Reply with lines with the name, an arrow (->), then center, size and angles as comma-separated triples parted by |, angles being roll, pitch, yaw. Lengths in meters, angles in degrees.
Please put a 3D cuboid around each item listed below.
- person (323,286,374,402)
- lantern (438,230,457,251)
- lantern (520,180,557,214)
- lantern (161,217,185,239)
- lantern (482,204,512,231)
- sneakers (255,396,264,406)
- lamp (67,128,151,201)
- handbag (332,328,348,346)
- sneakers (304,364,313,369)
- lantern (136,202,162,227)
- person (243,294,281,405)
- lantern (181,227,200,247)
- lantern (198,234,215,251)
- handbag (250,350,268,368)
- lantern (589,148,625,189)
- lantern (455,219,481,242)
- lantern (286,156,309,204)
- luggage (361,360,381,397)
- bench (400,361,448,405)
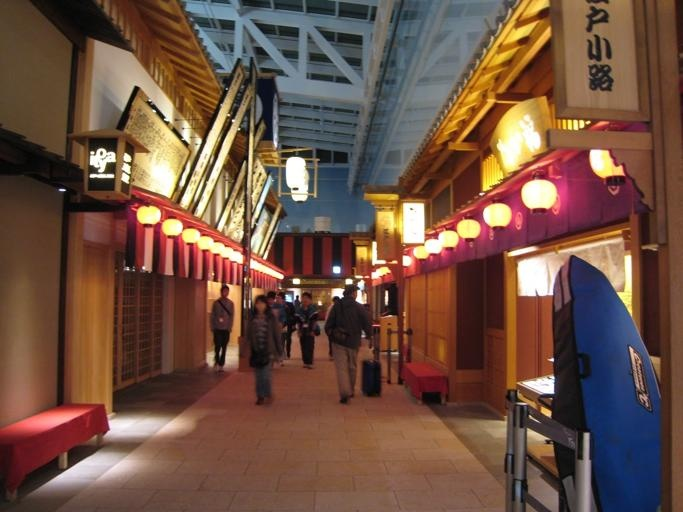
person -> 0.124, 1.590, 10.457 | 0.855, 2.118, 0.666 | -2, -8, 2
lantern -> 1.774, -0.258, 9.473 | 0.262, 0.327, 0.276 | -2, -2, 23
lantern -> 2.195, -0.624, 6.202 | 0.327, 0.421, 0.350 | 7, -5, -33
lantern -> -2.883, -0.470, 9.541 | 0.338, 0.307, 0.447 | -1, -8, -3
lantern -> 2.009, -0.497, 7.368 | 0.292, 0.305, 0.313 | 1, -4, 0
sneakers -> -1.449, 2.534, 9.959 | 0.111, 0.128, 0.127 | 2, -4, 10
lamp -> -3.109, -1.175, 7.477 | 0.931, 0.876, 0.919 | 2, -13, -27
handbag -> -0.036, 1.438, 10.203 | 0.320, 0.337, 0.086 | -2, -8, 5
sneakers -> -0.848, 2.754, 14.231 | 0.230, 0.100, 0.317 | -1, -8, -8
lantern -> -2.943, -0.646, 8.638 | 0.294, 0.287, 0.300 | 10, 19, 42
person -> -1.379, 1.629, 9.858 | 0.541, 1.867, 0.598 | 1, -8, -19
lantern -> -2.800, -0.324, 10.422 | 0.287, 0.292, 0.282 | -7, -29, -12
lantern -> -2.724, -0.244, 11.321 | 0.247, 0.273, 0.291 | -14, 11, -4
handbag -> -1.436, 1.770, 9.771 | 0.258, 0.306, 0.292 | -1, -5, 4
lantern -> 2.415, -0.806, 5.141 | 0.274, 0.355, 0.214 | -6, -9, 28
lantern -> 1.891, -0.365, 8.482 | 0.290, 0.284, 0.286 | 5, -7, -43
lantern -> -1.447, -2.565, 18.181 | 0.589, 1.594, 0.871 | -2, -8, 3
luggage -> 0.555, 2.350, 10.924 | 0.364, 0.643, 0.398 | 3, -4, -2
bench -> 1.539, 2.365, 10.497 | 0.640, 0.434, 1.247 | 0, -2, -5
